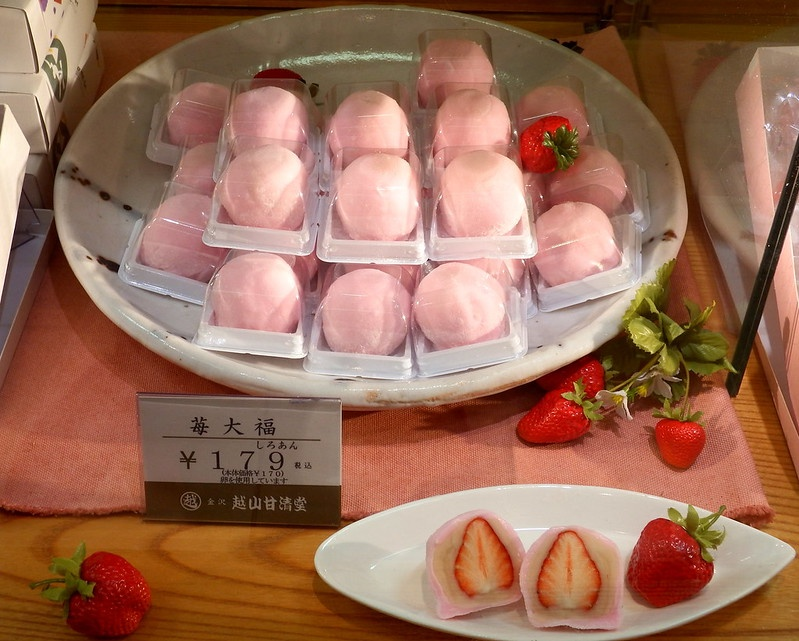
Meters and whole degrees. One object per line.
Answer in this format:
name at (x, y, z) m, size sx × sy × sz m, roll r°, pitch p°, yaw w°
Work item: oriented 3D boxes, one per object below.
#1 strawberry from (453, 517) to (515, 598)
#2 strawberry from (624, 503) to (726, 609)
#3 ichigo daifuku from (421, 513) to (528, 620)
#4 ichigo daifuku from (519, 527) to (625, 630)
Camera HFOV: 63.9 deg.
strawberry at (0.089, 0.250, 0.668) m, size 0.046 × 0.068 × 0.015 m, roll -5°, pitch -27°, yaw -2°
strawberry at (0.286, 0.253, 0.717) m, size 0.096 × 0.108 × 0.117 m, roll 22°, pitch 37°, yaw 10°
ichigo daifuku at (0.080, 0.255, 0.665) m, size 0.111 × 0.043 × 0.117 m, roll 5°, pitch 54°, yaw 47°
ichigo daifuku at (0.177, 0.268, 0.658) m, size 0.080 × 0.095 × 0.033 m, roll -5°, pitch -20°, yaw -6°
